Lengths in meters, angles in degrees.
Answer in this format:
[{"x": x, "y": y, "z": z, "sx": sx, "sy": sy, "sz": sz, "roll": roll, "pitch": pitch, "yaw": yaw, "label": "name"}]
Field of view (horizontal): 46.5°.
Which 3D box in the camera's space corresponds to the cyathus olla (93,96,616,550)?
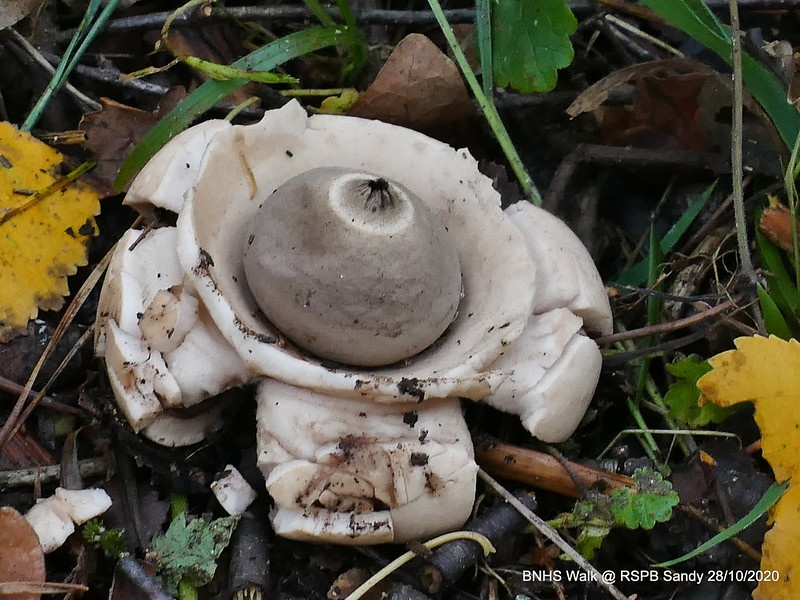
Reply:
[{"x": -0.121, "y": 0.182, "z": 2.860, "sx": 1.480, "sy": 0.617, "sz": 1.299, "roll": 6, "pitch": 67, "yaw": -15, "label": "cyathus olla"}]
